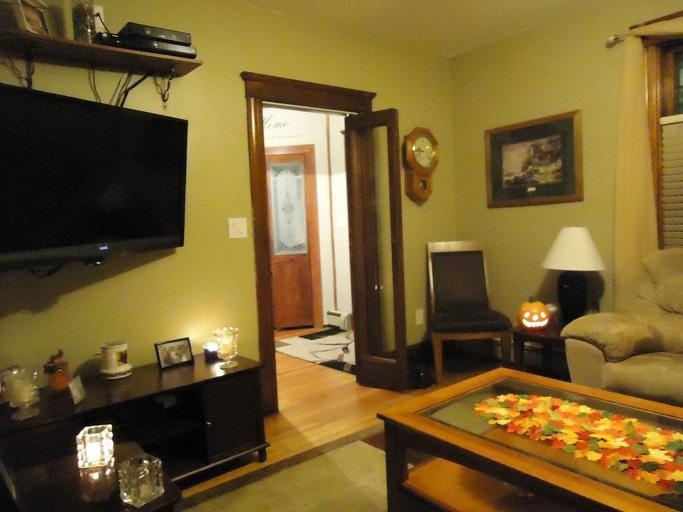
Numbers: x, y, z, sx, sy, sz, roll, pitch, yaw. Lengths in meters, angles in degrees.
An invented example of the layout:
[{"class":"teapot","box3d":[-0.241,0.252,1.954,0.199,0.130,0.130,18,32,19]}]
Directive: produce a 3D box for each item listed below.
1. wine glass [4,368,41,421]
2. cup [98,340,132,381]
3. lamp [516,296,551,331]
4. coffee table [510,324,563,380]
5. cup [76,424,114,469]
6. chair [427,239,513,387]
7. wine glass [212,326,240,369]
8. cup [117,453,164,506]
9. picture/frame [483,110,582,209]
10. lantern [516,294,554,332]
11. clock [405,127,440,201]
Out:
[{"class":"wine glass","box3d":[-1.591,0.678,2.650,0.153,0.213,0.189,-9,12,-29]},{"class":"cup","box3d":[-1.342,0.611,3.134,0.208,0.187,0.139,-3,2,33]},{"class":"lamp","box3d":[1.471,0.459,4.156,0.235,0.204,0.224,-2,-9,-2]},{"class":"coffee table","box3d":[1.564,0.742,4.104,0.459,0.405,0.449,1,-1,-42]},{"class":"cup","box3d":[-1.029,0.833,2.303,0.206,0.145,0.198,-9,-18,-3]},{"class":"chair","box3d":[1.046,0.425,4.469,0.692,0.941,0.760,-2,10,9]},{"class":"wine glass","box3d":[-0.714,0.576,3.323,0.160,0.215,0.152,-1,-8,-16]},{"class":"cup","box3d":[-0.766,0.864,2.055,0.110,0.150,0.159,7,14,42]},{"class":"picture/frame","box3d":[1.621,-0.811,4.429,0.971,0.766,0.046,1,5,44]},{"class":"lantern","box3d":[1.518,0.433,4.084,0.265,0.231,0.252,-2,-10,-3]},{"class":"clock","box3d":[0.695,-0.784,4.694,0.365,0.673,0.142,-12,14,-38]}]
